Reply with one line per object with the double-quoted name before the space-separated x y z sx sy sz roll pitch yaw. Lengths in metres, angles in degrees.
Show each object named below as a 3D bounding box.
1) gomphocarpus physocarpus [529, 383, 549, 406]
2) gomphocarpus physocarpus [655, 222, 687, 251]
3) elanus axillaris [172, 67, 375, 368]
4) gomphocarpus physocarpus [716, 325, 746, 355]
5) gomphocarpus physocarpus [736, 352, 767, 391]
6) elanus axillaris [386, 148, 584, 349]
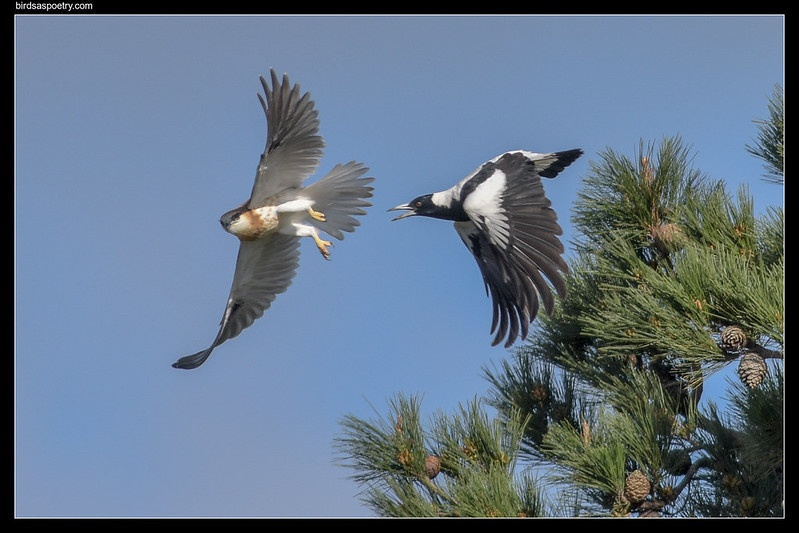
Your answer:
"gomphocarpus physocarpus" 0.695 0.632 7.079 0.098 0.090 0.152 -5 -24 9
"gomphocarpus physocarpus" 1.313 -0.143 6.970 0.146 0.086 0.114 20 -38 18
"elanus axillaris" -0.486 -0.233 7.144 1.013 1.946 0.504 -10 -44 19
"gomphocarpus physocarpus" 1.530 0.329 6.594 0.134 0.129 0.085 -9 -34 10
"gomphocarpus physocarpus" 1.614 0.477 6.604 0.118 0.177 0.072 -4 -51 17
"elanus axillaris" 0.558 -0.063 6.545 0.626 0.838 0.369 -42 -87 6
